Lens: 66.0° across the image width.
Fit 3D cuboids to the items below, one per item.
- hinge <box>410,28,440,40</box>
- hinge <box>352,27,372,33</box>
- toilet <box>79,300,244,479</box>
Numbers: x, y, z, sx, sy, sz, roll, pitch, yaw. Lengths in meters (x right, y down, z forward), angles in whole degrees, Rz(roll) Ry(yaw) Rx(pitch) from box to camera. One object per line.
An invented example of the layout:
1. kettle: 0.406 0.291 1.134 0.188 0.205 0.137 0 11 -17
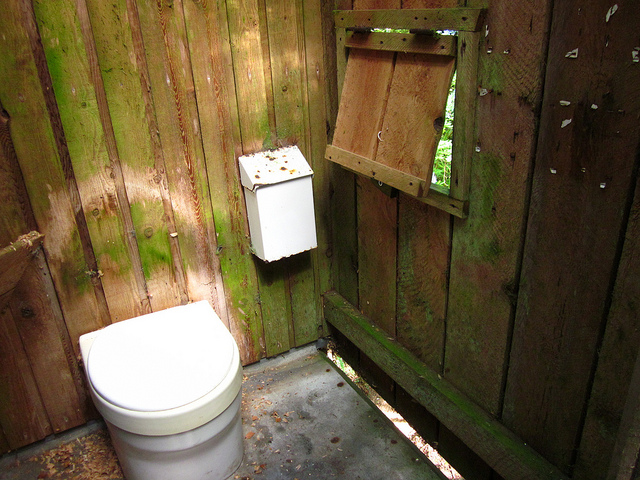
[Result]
1. hinge: 0.342 -0.684 1.620 0.028 0.033 0.117 -20 33 -29
2. hinge: 0.158 -0.805 1.883 0.051 0.014 0.037 7 -11 18
3. toilet: -0.613 0.575 2.059 0.518 0.642 0.691 -14 36 -17
